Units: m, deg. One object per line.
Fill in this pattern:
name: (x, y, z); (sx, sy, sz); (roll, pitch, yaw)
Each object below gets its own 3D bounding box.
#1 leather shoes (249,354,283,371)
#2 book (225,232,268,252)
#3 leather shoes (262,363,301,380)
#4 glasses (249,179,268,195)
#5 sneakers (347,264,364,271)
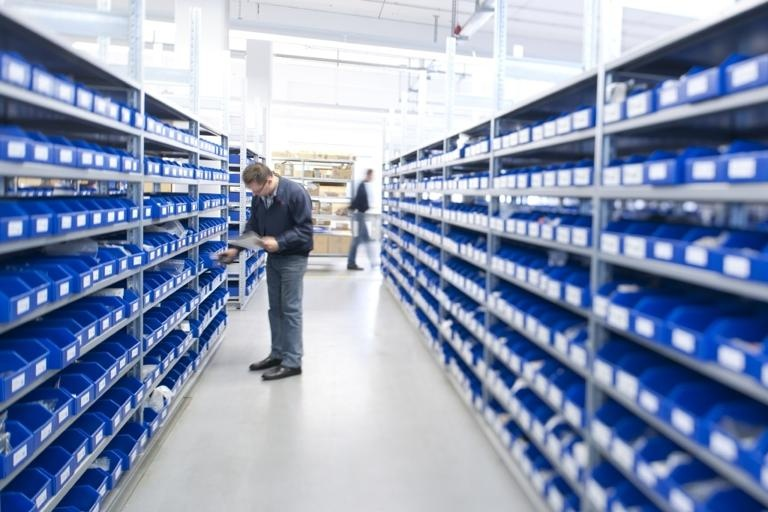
leather shoes: (-1.002, 0.922, 4.678); (0.327, 0.125, 0.107); (-2, 0, -27)
book: (-1.076, -0.155, 4.243); (0.221, 0.063, 0.243); (-13, -23, 37)
leather shoes: (-0.842, 0.956, 4.450); (0.295, 0.086, 0.106); (2, -5, -25)
glasses: (-0.971, -0.516, 4.171); (0.098, 0.127, 0.092); (1, -24, 0)
sneakers: (-0.529, 0.205, 9.790); (0.331, 0.136, 0.110); (0, 5, -12)
